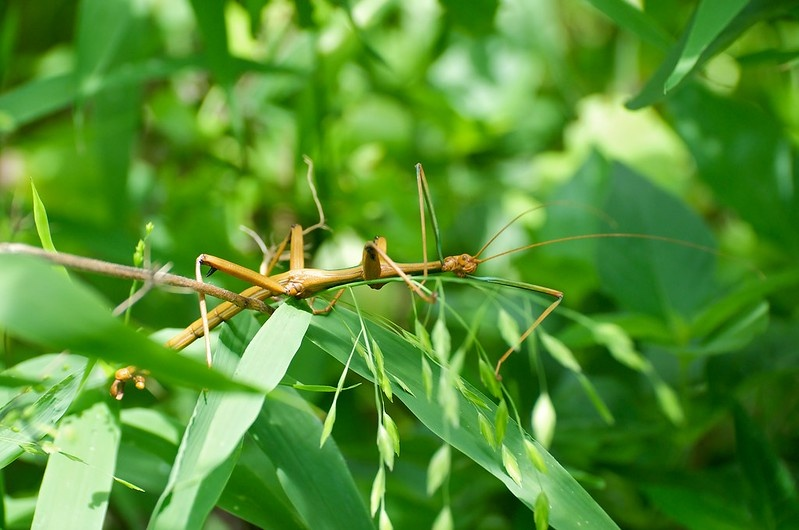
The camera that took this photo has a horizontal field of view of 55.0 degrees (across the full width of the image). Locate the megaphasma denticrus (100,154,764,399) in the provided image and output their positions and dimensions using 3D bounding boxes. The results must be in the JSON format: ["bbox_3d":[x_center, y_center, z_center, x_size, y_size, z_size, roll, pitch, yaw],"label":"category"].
[{"bbox_3d":[0.011,-0.022,1.304,0.787,0.540,0.234,-19,-67,-11],"label":"megaphasma denticrus"}]
